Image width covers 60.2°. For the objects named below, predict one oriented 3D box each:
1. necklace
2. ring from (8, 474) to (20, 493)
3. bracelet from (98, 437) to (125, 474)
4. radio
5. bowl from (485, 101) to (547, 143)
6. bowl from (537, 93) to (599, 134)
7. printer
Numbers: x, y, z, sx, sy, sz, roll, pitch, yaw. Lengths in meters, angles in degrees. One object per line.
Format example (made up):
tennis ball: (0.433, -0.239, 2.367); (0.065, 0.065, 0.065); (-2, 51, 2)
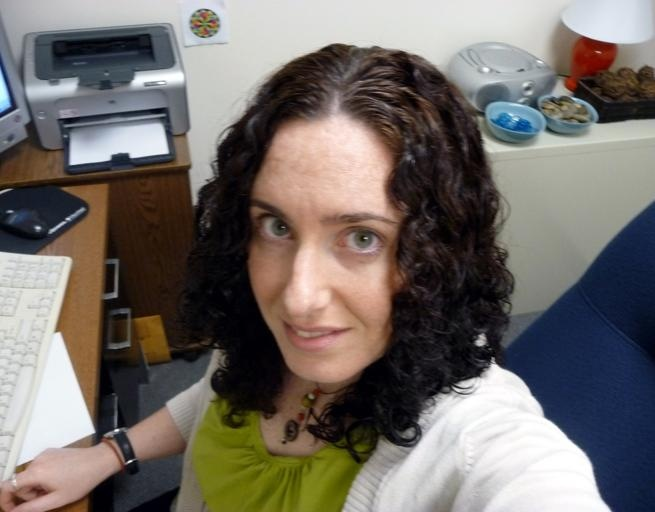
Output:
necklace: (-0.029, 0.308, 1.121); (0.125, 0.061, 0.030); (-46, 21, -11)
ring: (-0.596, 0.433, 1.070); (0.025, 0.033, 0.012); (-1, -16, -31)
bracelet: (-0.468, 0.433, 1.223); (0.037, 0.054, 0.057); (-16, 32, -27)
radio: (0.619, -0.693, 2.176); (0.371, 0.253, 0.291); (-6, 35, -17)
bowl: (0.669, -0.481, 2.023); (0.172, 0.071, 0.174); (2, 51, -3)
bowl: (0.866, -0.491, 2.085); (0.177, 0.153, 0.191); (4, 34, -3)
printer: (-0.718, -0.523, 1.857); (0.498, 0.245, 0.547); (-10, 58, -18)
